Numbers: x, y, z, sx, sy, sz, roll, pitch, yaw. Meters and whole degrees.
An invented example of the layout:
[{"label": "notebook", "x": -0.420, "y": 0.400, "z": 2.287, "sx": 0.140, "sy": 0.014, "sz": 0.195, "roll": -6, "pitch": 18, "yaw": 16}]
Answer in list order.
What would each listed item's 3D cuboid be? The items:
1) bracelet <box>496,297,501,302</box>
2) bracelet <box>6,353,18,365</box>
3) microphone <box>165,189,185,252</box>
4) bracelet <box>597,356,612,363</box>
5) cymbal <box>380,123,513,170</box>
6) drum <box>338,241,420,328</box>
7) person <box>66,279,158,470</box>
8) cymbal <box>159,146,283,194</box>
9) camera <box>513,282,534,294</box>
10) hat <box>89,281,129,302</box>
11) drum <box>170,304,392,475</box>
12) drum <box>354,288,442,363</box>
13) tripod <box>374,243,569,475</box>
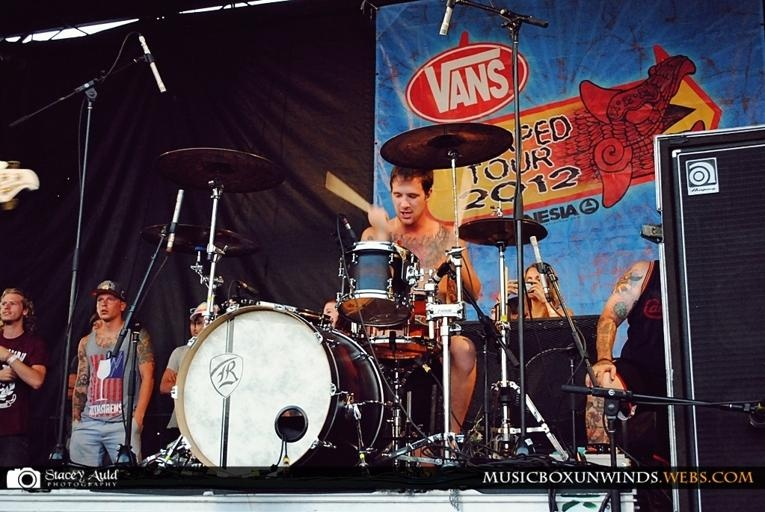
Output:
[{"label": "bracelet", "x": 1.035, "y": 0.388, "z": 8.231, "sx": 0.029, "sy": 0.054, "sz": 0.069, "roll": -2, "pitch": 9, "yaw": 3}, {"label": "bracelet", "x": -3.527, "y": 0.980, "z": 8.668, "sx": 0.070, "sy": 0.091, "sz": 0.095, "roll": 24, "pitch": -2, "yaw": -27}, {"label": "microphone", "x": -1.880, "y": -0.303, "z": 8.278, "sx": 0.125, "sy": 0.686, "sz": 0.116, "roll": 9, "pitch": -34, "yaw": -2}, {"label": "bracelet", "x": 1.888, "y": 0.875, "z": 7.710, "sx": 0.157, "sy": 0.063, "sz": 0.081, "roll": 6, "pitch": -19, "yaw": -18}, {"label": "cymbal", "x": 0.539, "y": -0.977, "z": 7.623, "sx": 1.049, "sy": 0.201, "sz": 1.003, "roll": -2, "pitch": -15, "yaw": -13}, {"label": "drum", "x": -0.117, "y": 0.204, "z": 7.406, "sx": 0.643, "sy": 0.492, "sz": 0.601, "roll": 1, "pitch": -18, "yaw": 0}, {"label": "person", "x": -2.523, "y": 1.030, "z": 8.460, "sx": 0.760, "sy": 1.780, "sz": 0.418, "roll": 1, "pitch": -19, "yaw": -1}, {"label": "cymbal", "x": -1.362, "y": -0.673, "z": 7.698, "sx": 1.041, "sy": 0.240, "sz": 0.673, "roll": 2, "pitch": -18, "yaw": -7}, {"label": "camera", "x": 1.253, "y": 0.271, "z": 8.069, "sx": 0.140, "sy": 0.174, "sz": 0.078, "roll": 4, "pitch": 2, "yaw": 25}, {"label": "hat", "x": -2.602, "y": 0.347, "z": 8.621, "sx": 0.266, "sy": 0.122, "sz": 0.184, "roll": 19, "pitch": -12, "yaw": -8}, {"label": "drum", "x": -0.761, "y": 1.059, "z": 6.797, "sx": 1.361, "sy": 1.243, "sz": 1.066, "roll": -5, "pitch": -14, "yaw": 20}, {"label": "drum", "x": 0.174, "y": 0.628, "z": 7.479, "sx": 0.627, "sy": 0.427, "sz": 0.631, "roll": 4, "pitch": -27, "yaw": 2}, {"label": "tripod", "x": 0.728, "y": 0.655, "z": 7.206, "sx": 1.302, "sy": 2.052, "sz": 1.959, "roll": -2, "pitch": -18, "yaw": 8}]
